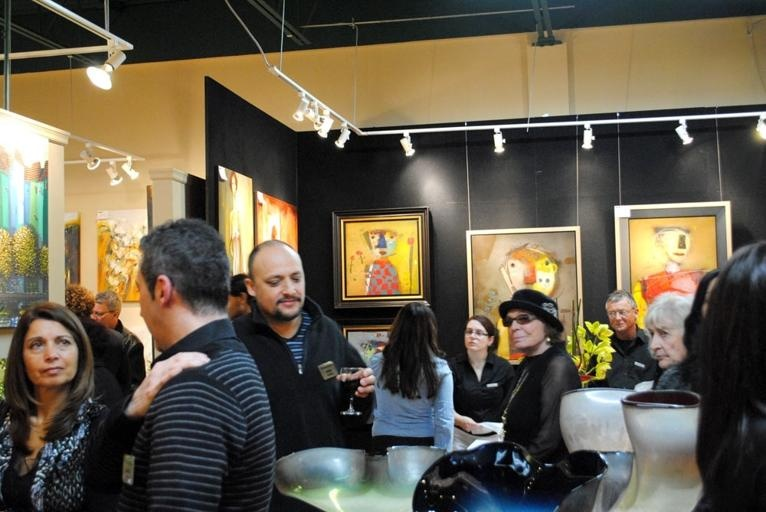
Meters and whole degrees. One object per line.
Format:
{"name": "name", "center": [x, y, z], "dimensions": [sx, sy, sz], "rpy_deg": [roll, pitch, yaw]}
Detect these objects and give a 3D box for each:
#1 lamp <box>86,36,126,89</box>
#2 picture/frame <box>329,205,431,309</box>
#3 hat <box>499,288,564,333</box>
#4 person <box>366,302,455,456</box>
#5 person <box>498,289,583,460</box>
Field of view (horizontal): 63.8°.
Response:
{"name": "lamp", "center": [-1.900, -1.305, 4.193], "dimensions": [0.208, 0.316, 0.285], "rpy_deg": [-3, 2, -30]}
{"name": "picture/frame", "center": [0.008, 0.033, 7.771], "dimensions": [1.337, 1.313, 0.133], "rpy_deg": [-1, -3, 9]}
{"name": "hat", "center": [0.733, 0.245, 2.984], "dimensions": [0.250, 0.091, 0.203], "rpy_deg": [39, -34, -15]}
{"name": "person", "center": [0.187, 0.811, 4.080], "dimensions": [0.557, 0.950, 0.463], "rpy_deg": [-2, 2, 1]}
{"name": "person", "center": [0.716, 0.501, 2.792], "dimensions": [0.349, 0.648, 0.737], "rpy_deg": [-1, 2, 12]}
